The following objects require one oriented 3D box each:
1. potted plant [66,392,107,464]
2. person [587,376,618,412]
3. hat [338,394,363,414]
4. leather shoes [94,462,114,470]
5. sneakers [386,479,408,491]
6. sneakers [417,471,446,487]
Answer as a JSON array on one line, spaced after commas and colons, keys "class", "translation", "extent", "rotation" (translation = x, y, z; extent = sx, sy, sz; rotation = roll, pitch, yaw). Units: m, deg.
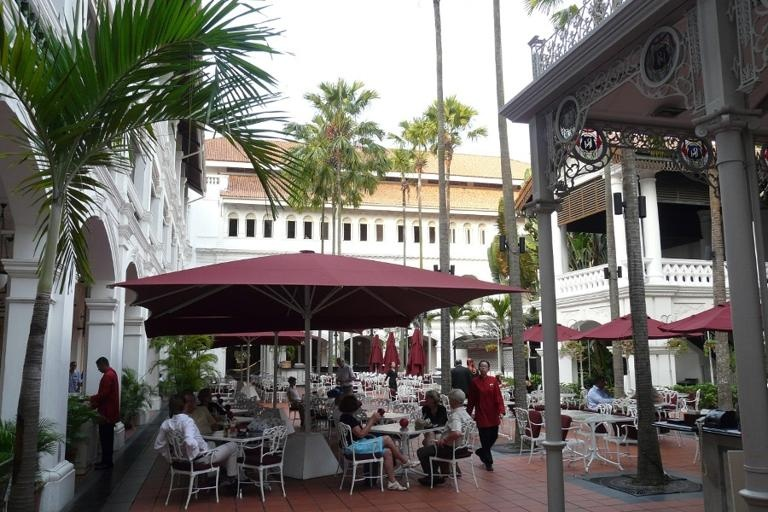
[{"class": "potted plant", "translation": [-5.788, 3.291, 12.541], "extent": [0.537, 1.265, 2.066], "rotation": [1, -4, -25]}, {"class": "person", "translation": [5.396, 3.457, 16.248], "extent": [0.664, 0.895, 0.648], "rotation": [-1, 4, -45]}, {"class": "hat", "translation": [-0.617, 2.700, 11.781], "extent": [0.327, 0.328, 0.431], "rotation": [-8, -1, 29]}, {"class": "leather shoes", "translation": [-5.640, 4.232, 13.117], "extent": [0.155, 0.138, 0.400], "rotation": [-46, -33, 22]}, {"class": "sneakers", "translation": [0.192, 3.962, 11.258], "extent": [0.346, 0.156, 0.136], "rotation": [2, -4, 0]}, {"class": "sneakers", "translation": [0.856, 3.965, 11.563], "extent": [0.584, 0.263, 0.220], "rotation": [10, -19, -24]}]
